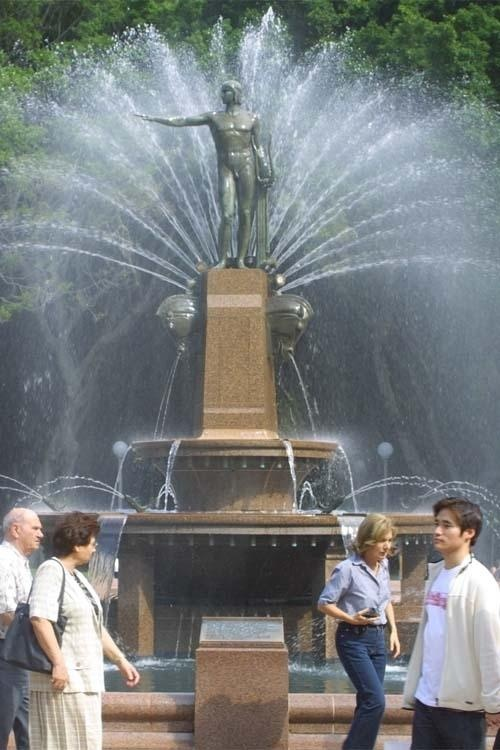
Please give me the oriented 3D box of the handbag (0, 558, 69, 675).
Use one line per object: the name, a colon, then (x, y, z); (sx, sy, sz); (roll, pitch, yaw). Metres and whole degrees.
handbag: (-1.175, 1.348, 6.798); (0.326, 0.571, 0.212); (2, -5, 2)
